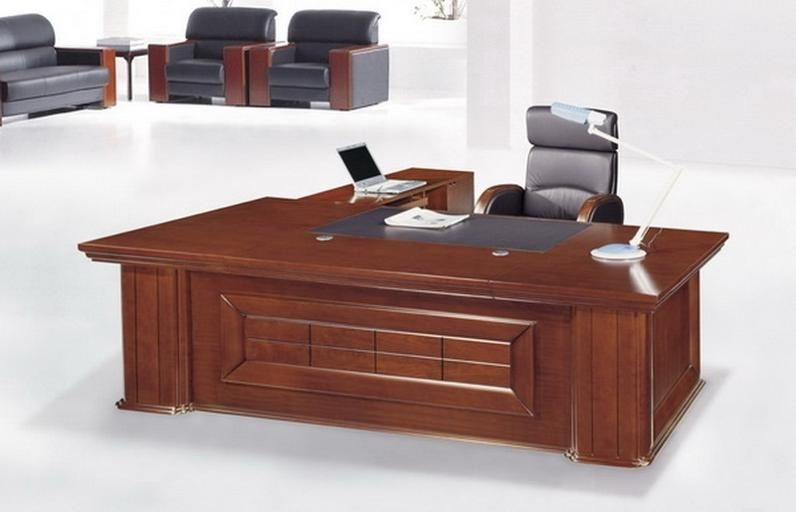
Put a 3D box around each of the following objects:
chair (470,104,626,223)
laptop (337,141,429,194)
[{"bbox_3d":[1.008,-0.561,5.238,1.017,0.952,0.971,6,10,29],"label":"chair"},{"bbox_3d":[-0.123,-0.583,4.862,0.492,0.226,0.482,-17,19,-32],"label":"laptop"}]
